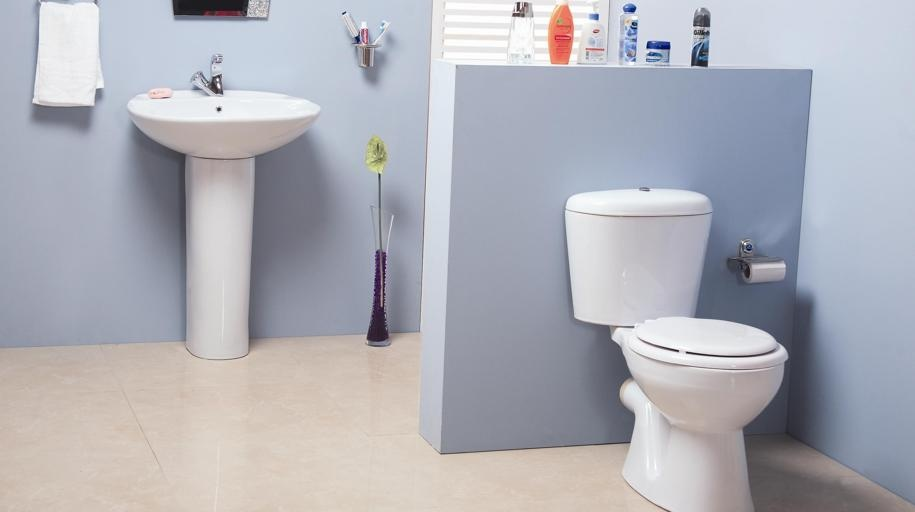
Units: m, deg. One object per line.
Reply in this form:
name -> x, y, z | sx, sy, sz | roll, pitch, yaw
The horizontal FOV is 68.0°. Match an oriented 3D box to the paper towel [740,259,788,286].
paper towel -> 1.420, 0.070, 3.128 | 0.176, 0.096, 0.117 | -1, 3, -12

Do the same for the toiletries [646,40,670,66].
toiletries -> 0.925, -0.930, 3.132 | 0.116, 0.098, 0.111 | 5, 9, 30

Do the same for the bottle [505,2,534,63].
bottle -> 0.290, -0.995, 3.024 | 0.113, 0.272, 0.151 | 4, 16, 2

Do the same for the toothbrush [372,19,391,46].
toothbrush -> -0.439, -1.272, 3.889 | 0.083, 0.198, 0.060 | 23, 20, 25

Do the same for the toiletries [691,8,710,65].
toiletries -> 1.131, -1.017, 3.151 | 0.089, 0.270, 0.181 | 8, 16, 15

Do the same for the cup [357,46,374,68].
cup -> -0.517, -1.131, 3.853 | 0.120, 0.104, 0.107 | -1, 11, -6

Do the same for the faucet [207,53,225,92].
faucet -> -1.314, -0.994, 3.697 | 0.080, 0.216, 0.146 | -2, 17, -20

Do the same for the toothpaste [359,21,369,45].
toothpaste -> -0.533, -1.268, 3.855 | 0.052, 0.131, 0.087 | 1, 16, -10

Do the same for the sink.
sink -> -1.218, -0.687, 3.569 | 0.949, 0.344, 0.546 | 0, 15, -13

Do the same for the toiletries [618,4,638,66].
toiletries -> 0.816, -1.062, 3.239 | 0.097, 0.291, 0.245 | 8, 16, 12
